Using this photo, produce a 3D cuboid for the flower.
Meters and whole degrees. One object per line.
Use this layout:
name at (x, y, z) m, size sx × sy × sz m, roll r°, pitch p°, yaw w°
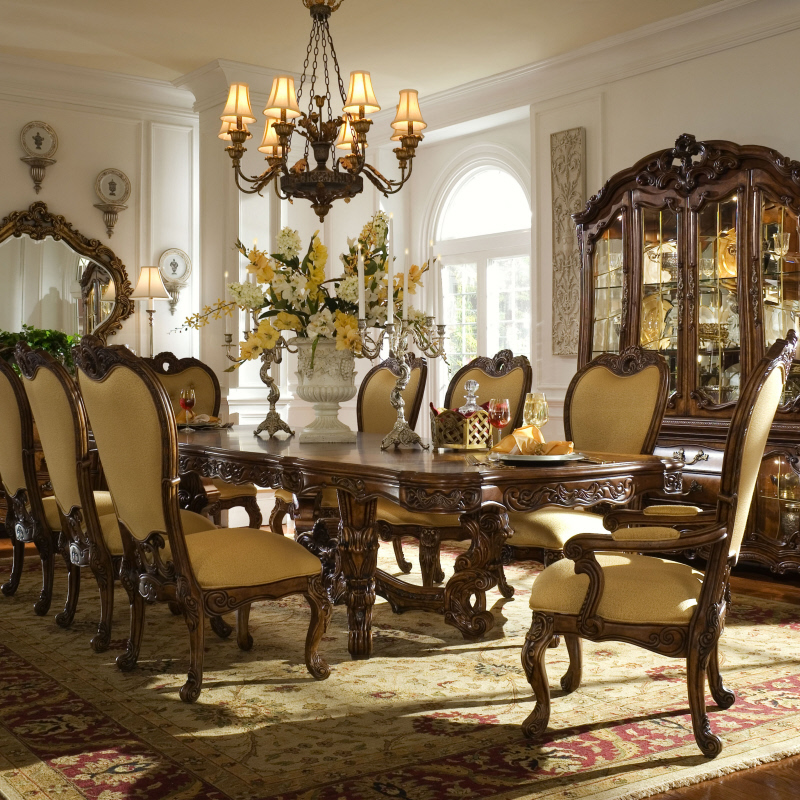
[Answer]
flower at (-0.317, -0.380, 2.869) m, size 0.909 × 0.395 × 0.833 m, roll -3°, pitch 6°, yaw -20°
